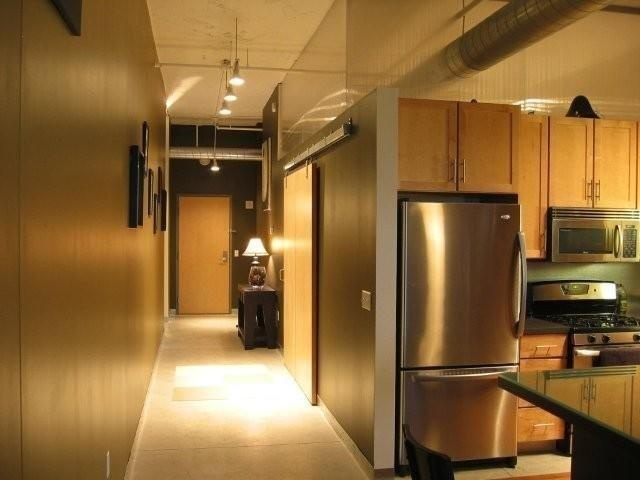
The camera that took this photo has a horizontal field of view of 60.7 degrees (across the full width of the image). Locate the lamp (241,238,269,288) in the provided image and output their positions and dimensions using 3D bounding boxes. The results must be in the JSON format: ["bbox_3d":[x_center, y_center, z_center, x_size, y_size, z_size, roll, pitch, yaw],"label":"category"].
[{"bbox_3d":[-0.968,0.336,8.291,0.395,0.737,0.411,1,4,5],"label":"lamp"}]

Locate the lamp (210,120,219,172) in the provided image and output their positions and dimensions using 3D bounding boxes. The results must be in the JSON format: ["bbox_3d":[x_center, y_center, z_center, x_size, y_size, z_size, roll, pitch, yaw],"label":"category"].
[{"bbox_3d":[-1.884,-1.692,9.815,0.172,0.883,1.050,0,3,-11],"label":"lamp"}]

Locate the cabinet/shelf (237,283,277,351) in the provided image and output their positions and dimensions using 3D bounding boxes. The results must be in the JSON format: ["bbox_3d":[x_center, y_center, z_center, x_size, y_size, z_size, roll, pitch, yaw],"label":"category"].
[{"bbox_3d":[-0.942,1.093,7.901,0.392,0.827,1.077,0,1,-14],"label":"cabinet/shelf"}]
